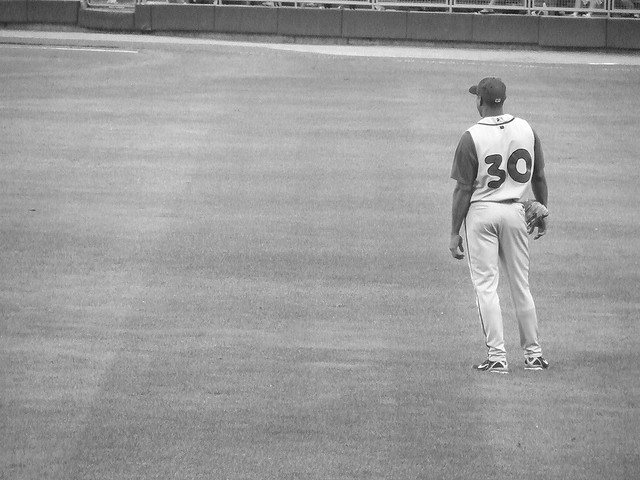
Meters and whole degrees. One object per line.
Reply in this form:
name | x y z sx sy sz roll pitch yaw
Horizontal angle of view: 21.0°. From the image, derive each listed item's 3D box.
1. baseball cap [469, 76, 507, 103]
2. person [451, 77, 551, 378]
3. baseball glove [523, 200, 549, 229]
baseball cap | 1.764 -1.592 18.261 0.220 0.204 0.363 -5 25 -13
person | 1.891 -0.086 18.252 1.005 3.206 0.475 1 8 8
baseball glove | 2.247 -0.270 18.232 0.288 0.301 0.216 5 3 -30
